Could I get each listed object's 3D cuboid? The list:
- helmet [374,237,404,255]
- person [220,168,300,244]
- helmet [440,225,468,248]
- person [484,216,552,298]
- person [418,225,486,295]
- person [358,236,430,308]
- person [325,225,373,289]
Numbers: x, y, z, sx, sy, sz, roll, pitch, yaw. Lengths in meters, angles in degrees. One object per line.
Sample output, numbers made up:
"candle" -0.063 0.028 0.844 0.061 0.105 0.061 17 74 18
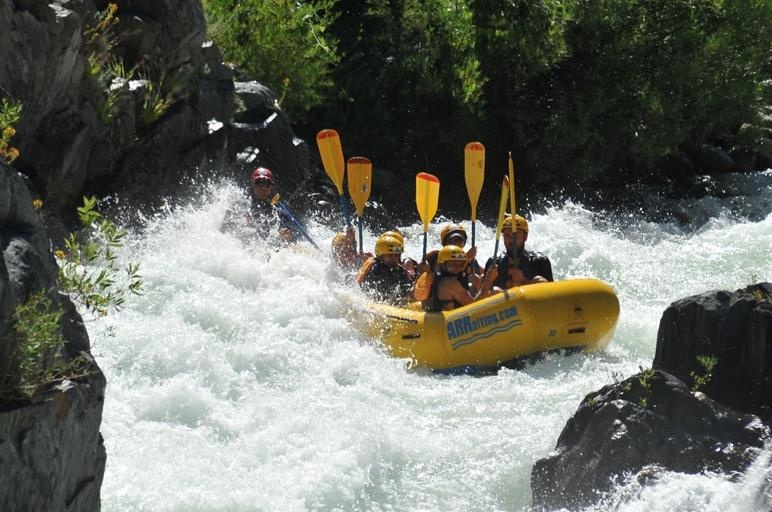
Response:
"helmet" 0.023 -0.107 12.277 0.286 0.260 0.221 -19 2 27
"person" -1.814 -0.698 13.758 1.123 1.004 0.607 -2 9 -20
"helmet" 0.912 -0.241 12.750 0.234 0.321 0.329 0 -29 -14
"person" 1.798 0.047 12.977 0.697 1.122 0.635 -5 -31 15
"person" 0.836 0.081 12.441 0.615 1.106 0.462 10 11 13
"person" -0.030 0.175 12.477 0.594 0.939 0.387 -13 -4 -13
"person" -0.555 0.056 12.998 0.429 0.848 0.316 -2 -32 -40
